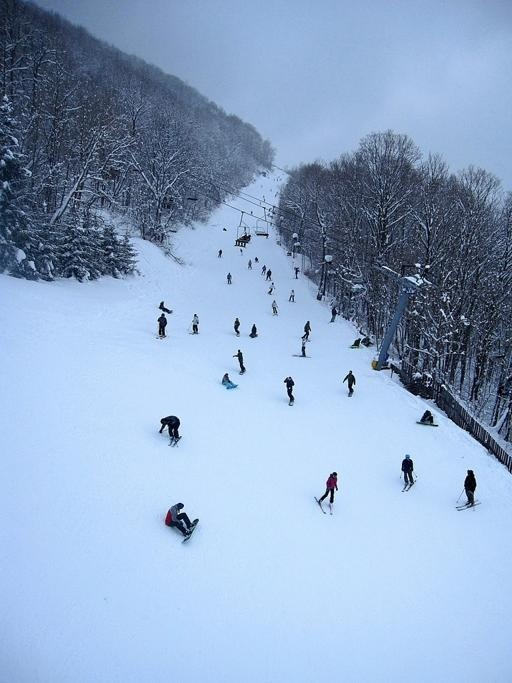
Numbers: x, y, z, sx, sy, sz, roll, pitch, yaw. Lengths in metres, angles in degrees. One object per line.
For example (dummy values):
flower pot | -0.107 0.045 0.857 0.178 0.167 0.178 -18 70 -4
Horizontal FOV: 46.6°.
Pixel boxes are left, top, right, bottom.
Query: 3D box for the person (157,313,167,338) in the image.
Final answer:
person | -4.299 -0.808 27.369 0.342 1.238 1.846 3 14 -10

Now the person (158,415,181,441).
person | -2.529 2.502 17.563 0.606 0.848 0.840 5 12 -13

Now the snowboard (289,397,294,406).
snowboard | 1.351 2.248 22.731 0.184 0.340 0.570 7 13 3

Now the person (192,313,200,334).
person | -3.027 -0.945 29.977 0.361 0.976 1.143 4 13 -7

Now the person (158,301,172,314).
person | -4.851 -1.773 31.872 0.479 0.291 0.843 33 19 -34

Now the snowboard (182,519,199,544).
snowboard | -1.570 4.586 14.290 0.109 0.799 0.206 10 35 -14

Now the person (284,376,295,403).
person | 1.317 1.817 22.929 0.369 1.089 1.266 6 12 6
